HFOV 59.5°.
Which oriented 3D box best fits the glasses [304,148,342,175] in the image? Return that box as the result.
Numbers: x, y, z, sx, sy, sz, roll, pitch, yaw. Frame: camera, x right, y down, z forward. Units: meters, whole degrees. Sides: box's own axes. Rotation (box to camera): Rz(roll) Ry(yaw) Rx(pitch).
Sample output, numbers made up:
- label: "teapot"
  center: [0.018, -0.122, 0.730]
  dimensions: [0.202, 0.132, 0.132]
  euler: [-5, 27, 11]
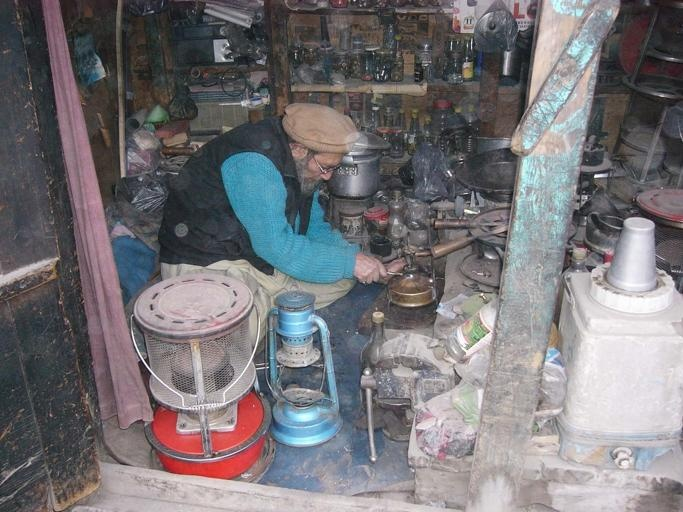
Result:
- label: "glasses"
  center: [-0.132, -0.597, 3.790]
  dimensions: [0.166, 0.174, 0.056]
  euler: [1, 1, 36]

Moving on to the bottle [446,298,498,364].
- label: "bottle"
  center: [0.609, 0.355, 2.766]
  dimensions: [0.108, 0.366, 0.106]
  euler: [15, 50, -18]

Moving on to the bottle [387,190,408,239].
- label: "bottle"
  center: [0.426, -0.322, 4.517]
  dimensions: [0.141, 0.366, 0.197]
  euler: [1, 24, 5]

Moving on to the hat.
- label: "hat"
  center: [-0.152, -0.809, 3.702]
  dimensions: [0.352, 0.114, 0.367]
  euler: [3, 36, -27]
